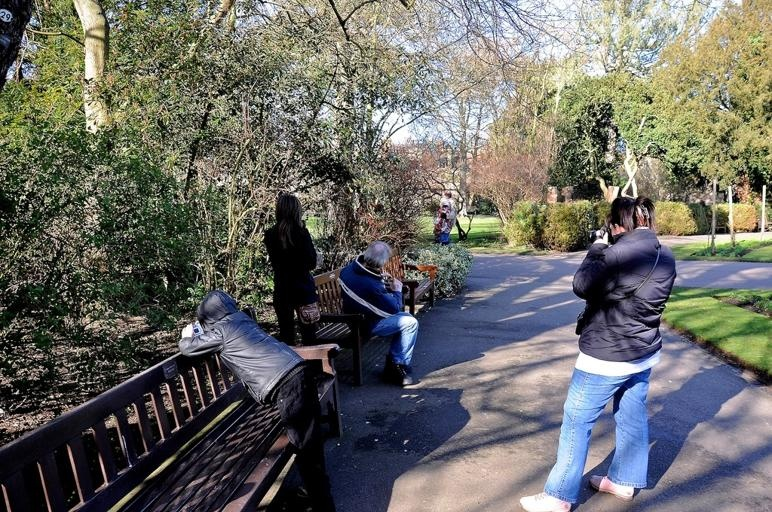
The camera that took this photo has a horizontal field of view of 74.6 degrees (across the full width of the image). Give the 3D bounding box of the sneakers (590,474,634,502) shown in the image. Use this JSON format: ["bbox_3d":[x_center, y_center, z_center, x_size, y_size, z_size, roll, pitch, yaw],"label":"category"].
[{"bbox_3d":[2.025,2.067,4.618,0.366,0.177,0.151,11,9,42],"label":"sneakers"}]

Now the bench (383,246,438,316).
[{"bbox_3d":[0.424,0.539,9.529,0.810,1.264,2.028,-1,6,12],"label":"bench"}]

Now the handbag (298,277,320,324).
[{"bbox_3d":[-0.881,0.546,5.927,0.327,0.461,0.350,5,45,6],"label":"handbag"}]

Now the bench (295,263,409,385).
[{"bbox_3d":[-0.582,0.946,7.404,0.863,1.414,2.220,9,1,0],"label":"bench"}]

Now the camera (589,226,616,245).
[{"bbox_3d":[1.947,-0.167,4.610,0.182,0.192,0.075,15,-16,14],"label":"camera"}]

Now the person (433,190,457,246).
[{"bbox_3d":[1.979,-1.313,17.122,0.742,1.722,1.223,-4,0,7],"label":"person"}]

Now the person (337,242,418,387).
[{"bbox_3d":[-0.128,0.757,6.839,1.040,1.821,0.755,2,17,-7],"label":"person"}]
